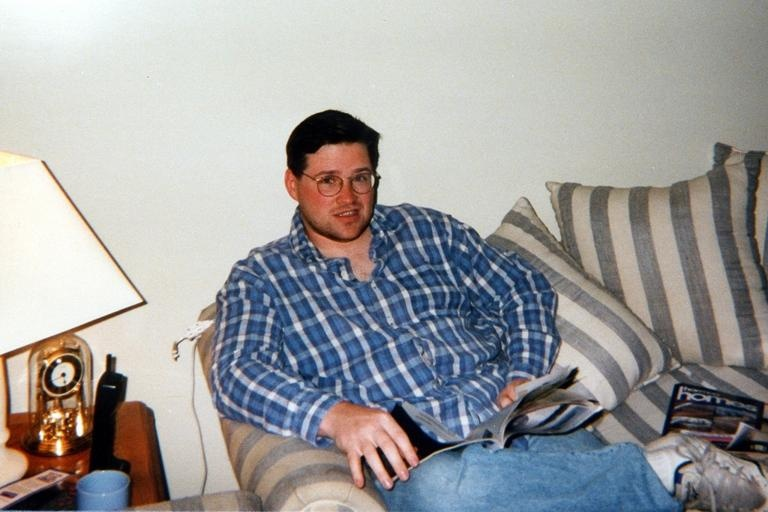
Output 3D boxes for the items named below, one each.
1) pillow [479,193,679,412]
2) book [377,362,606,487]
[{"bbox_3d":[0.613,0.186,2.156,0.592,0.639,0.190,-35,-5,-16],"label":"pillow"},{"bbox_3d":[0.360,0.442,1.680,0.687,0.189,0.271,-6,-18,-13],"label":"book"}]
